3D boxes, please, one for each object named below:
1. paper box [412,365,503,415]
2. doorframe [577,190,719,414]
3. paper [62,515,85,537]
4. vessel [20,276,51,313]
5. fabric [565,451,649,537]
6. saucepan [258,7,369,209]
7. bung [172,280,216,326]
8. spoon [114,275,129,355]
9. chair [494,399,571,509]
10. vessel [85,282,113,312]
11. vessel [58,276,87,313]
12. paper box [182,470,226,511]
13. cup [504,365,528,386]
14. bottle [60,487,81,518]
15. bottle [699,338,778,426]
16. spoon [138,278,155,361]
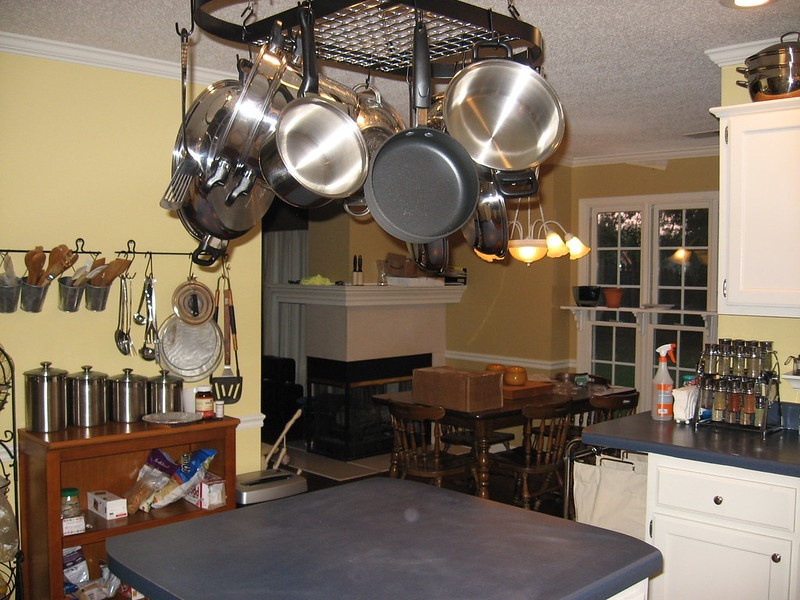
[{"bbox_3d":[0.367,0.606,4.705,0.630,0.243,0.386,3,7,24],"label":"paper box"},{"bbox_3d":[2.466,0.106,6.832,1.350,2.203,0.282,4,10,38],"label":"doorframe"},{"bbox_3d":[-1.505,1.044,3.172,0.078,0.078,0.056,8,-13,-35],"label":"paper"},{"bbox_3d":[-1.766,-0.034,3.320,0.124,0.196,0.118,4,24,-45],"label":"vessel"},{"bbox_3d":[1.077,1.001,3.475,0.414,0.407,0.251,4,-5,6],"label":"fabric"},{"bbox_3d":[-0.243,-0.501,1.937,0.283,0.549,0.163,-10,13,-25],"label":"saucepan"},{"bbox_3d":[-1.117,0.014,3.732,0.203,0.252,0.087,-5,-3,-28],"label":"bung"},{"bbox_3d":[-1.476,0.072,3.644,0.078,0.413,0.058,-1,1,-45],"label":"spoon"},{"bbox_3d":[0.890,1.119,4.870,0.505,0.850,0.555,1,2,-22],"label":"chair"},{"bbox_3d":[-1.526,-0.013,3.536,0.122,0.135,0.133,8,19,1],"label":"vessel"},{"bbox_3d":[-1.654,-0.027,3.468,0.122,0.189,0.178,-3,7,-27],"label":"vessel"},{"bbox_3d":[-0.985,0.921,3.503,0.134,0.122,0.239,-6,4,-35],"label":"paper box"},{"bbox_3d":[0.862,0.569,5.208,0.139,0.105,0.143,-1,4,0],"label":"cup"},{"bbox_3d":[-1.569,0.962,3.292,0.111,0.126,0.115,1,1,34],"label":"bottle"},{"bbox_3d":[1.694,0.420,3.444,0.362,0.450,0.264,6,9,42],"label":"bottle"},{"bbox_3d":[-1.362,0.108,3.708,0.094,0.461,0.154,-3,7,-20],"label":"spoon"}]
